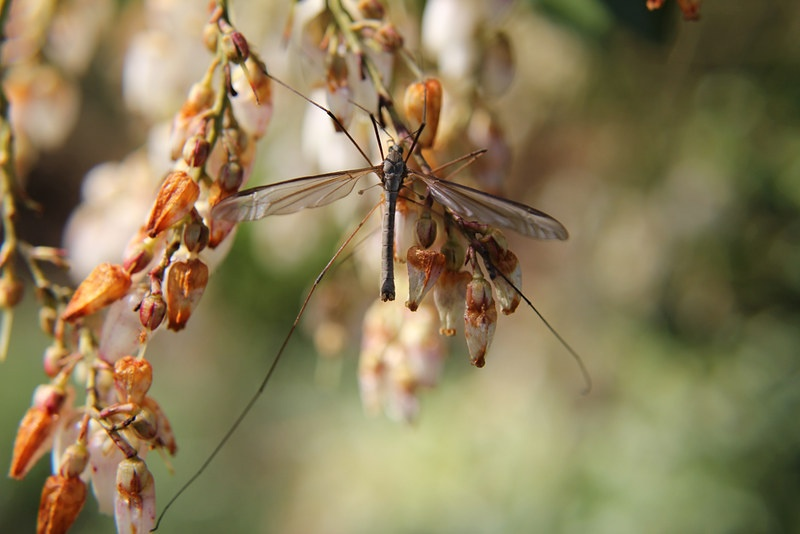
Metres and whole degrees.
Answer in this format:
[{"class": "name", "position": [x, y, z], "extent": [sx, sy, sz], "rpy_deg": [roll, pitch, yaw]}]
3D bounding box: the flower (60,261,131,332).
[{"class": "flower", "position": [-0.400, 0.044, 1.153], "extent": [0.096, 0.058, 0.027], "rpy_deg": [-43, -9, -10]}]

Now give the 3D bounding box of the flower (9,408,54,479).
[{"class": "flower", "position": [-0.516, 0.248, 1.214], "extent": [0.067, 0.100, 0.042], "rpy_deg": [-9, 7, -29]}]

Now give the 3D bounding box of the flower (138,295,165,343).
[{"class": "flower", "position": [-0.323, 0.067, 1.131], "extent": [0.027, 0.062, 0.020], "rpy_deg": [9, -8, 4]}]

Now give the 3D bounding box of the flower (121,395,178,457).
[{"class": "flower", "position": [-0.337, 0.228, 1.146], "extent": [0.075, 0.031, 0.075], "rpy_deg": [18, -11, 41]}]
